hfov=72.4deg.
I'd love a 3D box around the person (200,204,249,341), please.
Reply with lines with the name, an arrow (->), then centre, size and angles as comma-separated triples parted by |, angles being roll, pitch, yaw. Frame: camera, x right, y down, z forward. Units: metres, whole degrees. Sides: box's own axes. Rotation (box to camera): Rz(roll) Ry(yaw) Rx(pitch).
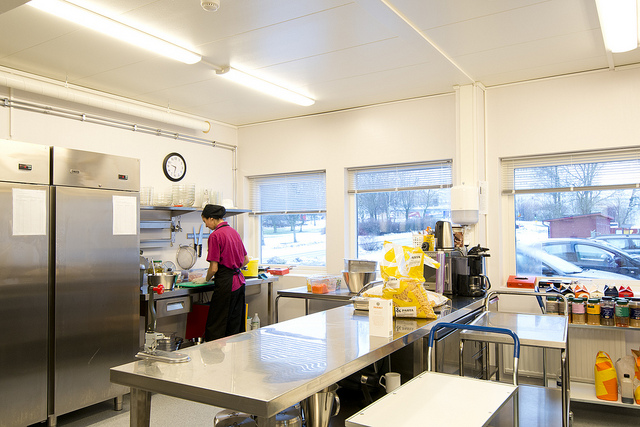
person -> -1.148, 0.744, 5.325 | 0.550, 1.661, 0.466 | 1, 9, -14

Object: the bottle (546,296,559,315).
bottle -> 2.369, 0.937, 4.450 | 0.130, 0.166, 0.086 | 6, 9, 18

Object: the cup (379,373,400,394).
cup -> 0.500, 1.190, 3.060 | 0.104, 0.135, 0.106 | 3, 8, 0

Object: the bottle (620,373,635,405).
bottle -> 2.965, 1.694, 4.233 | 0.126, 0.243, 0.183 | 6, 9, 21

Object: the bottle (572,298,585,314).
bottle -> 2.584, 0.928, 4.375 | 0.136, 0.138, 0.137 | 1, 0, 38

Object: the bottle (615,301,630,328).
bottle -> 2.938, 0.978, 4.253 | 0.139, 0.244, 0.101 | 7, 10, 27

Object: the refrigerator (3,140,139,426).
refrigerator -> -2.448, 0.622, 4.316 | 1.265, 2.588, 0.425 | -5, 12, -43

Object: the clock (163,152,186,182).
clock -> -2.063, -0.665, 6.243 | 0.036, 0.416, 0.443 | 3, 3, 26

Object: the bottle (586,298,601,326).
bottle -> 2.711, 0.975, 4.334 | 0.141, 0.261, 0.100 | 7, 9, 25
